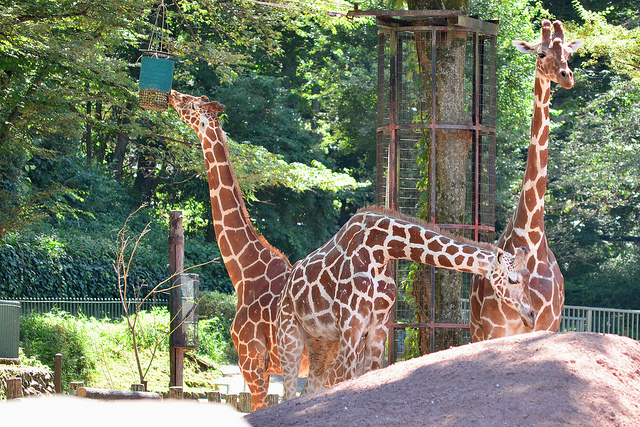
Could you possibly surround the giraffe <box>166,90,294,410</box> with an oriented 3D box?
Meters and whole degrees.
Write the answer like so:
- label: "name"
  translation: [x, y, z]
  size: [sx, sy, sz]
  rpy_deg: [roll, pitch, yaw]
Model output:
- label: "giraffe"
  translation: [-1.819, 0.842, 32.378]
  size: [2.218, 6.979, 0.919]
  rpy_deg: [-2, 0, 32]
